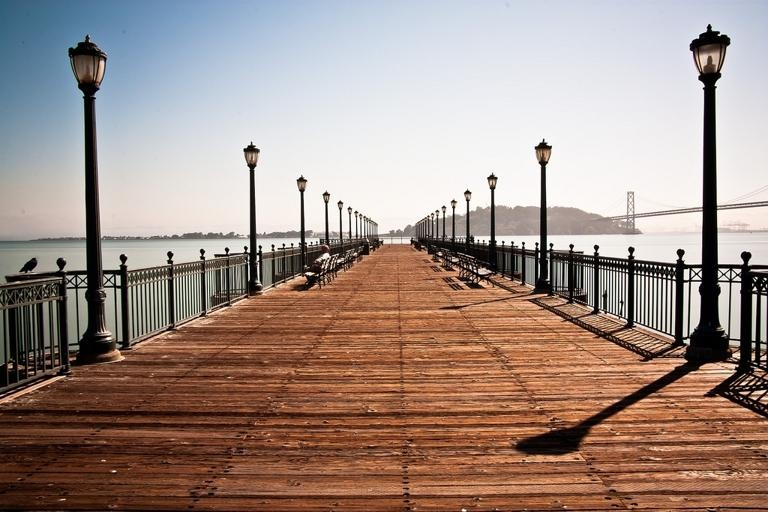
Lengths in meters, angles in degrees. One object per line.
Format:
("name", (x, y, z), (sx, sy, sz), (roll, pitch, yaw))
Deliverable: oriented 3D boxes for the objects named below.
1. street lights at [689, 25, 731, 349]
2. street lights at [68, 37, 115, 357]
("street lights", (5.245, -1.036, 12.410), (0.654, 5.367, 0.494), (0, 0, -5))
("street lights", (-4.726, -0.900, 12.416), (0.704, 4.948, 0.385), (0, 0, -28))
